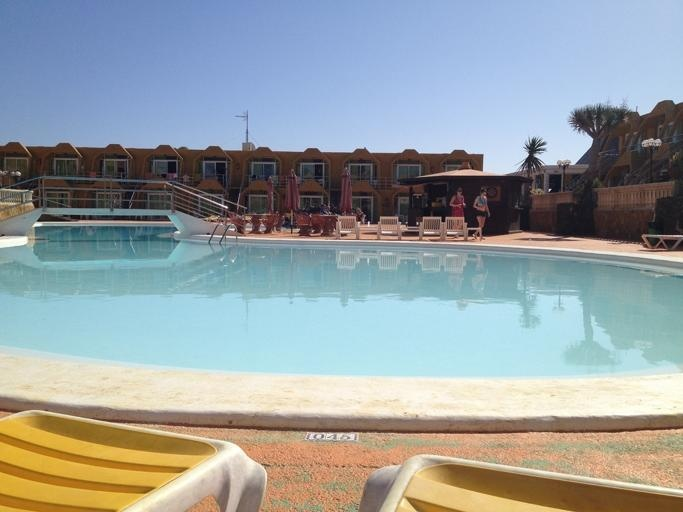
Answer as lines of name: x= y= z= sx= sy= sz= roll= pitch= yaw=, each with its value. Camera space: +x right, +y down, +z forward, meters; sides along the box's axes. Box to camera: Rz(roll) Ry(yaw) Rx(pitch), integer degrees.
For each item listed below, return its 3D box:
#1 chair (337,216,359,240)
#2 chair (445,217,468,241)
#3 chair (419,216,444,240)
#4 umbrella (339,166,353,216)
chair: x=0.288 y=-1.245 z=23.455 sx=0.919 sy=1.346 sz=0.988 roll=0 pitch=-2 yaw=1
chair: x=4.531 y=-1.090 z=21.571 sx=0.773 sy=0.949 sz=1.175 roll=0 pitch=-3 yaw=7
chair: x=3.698 y=-1.291 z=22.931 sx=1.018 sy=1.131 sz=1.117 roll=0 pitch=-1 yaw=0
umbrella: x=0.222 y=-2.987 z=25.509 sx=0.461 sy=2.202 sz=1.328 roll=1 pitch=0 yaw=-2
